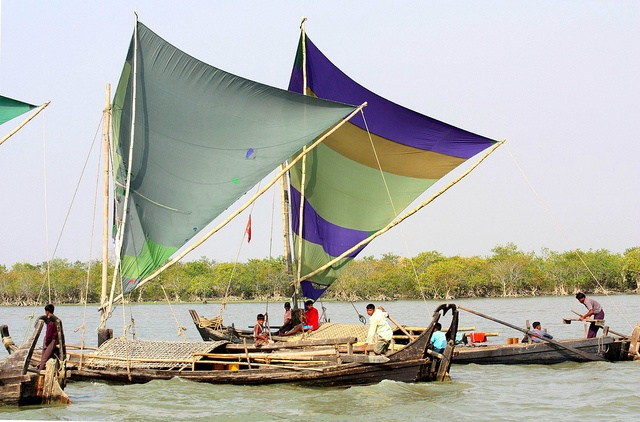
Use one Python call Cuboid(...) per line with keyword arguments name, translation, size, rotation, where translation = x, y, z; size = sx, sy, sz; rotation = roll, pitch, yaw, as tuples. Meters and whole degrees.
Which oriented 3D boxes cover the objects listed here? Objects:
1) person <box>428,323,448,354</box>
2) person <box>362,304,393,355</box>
Cuboid(name="person", translation=(4.866, 5.195, 23.863), size=(0.678, 1.264, 1.497), rotation=(-2, -6, 11))
Cuboid(name="person", translation=(2.294, 4.664, 22.746), size=(0.988, 1.894, 0.538), rotation=(-1, -6, 6))
